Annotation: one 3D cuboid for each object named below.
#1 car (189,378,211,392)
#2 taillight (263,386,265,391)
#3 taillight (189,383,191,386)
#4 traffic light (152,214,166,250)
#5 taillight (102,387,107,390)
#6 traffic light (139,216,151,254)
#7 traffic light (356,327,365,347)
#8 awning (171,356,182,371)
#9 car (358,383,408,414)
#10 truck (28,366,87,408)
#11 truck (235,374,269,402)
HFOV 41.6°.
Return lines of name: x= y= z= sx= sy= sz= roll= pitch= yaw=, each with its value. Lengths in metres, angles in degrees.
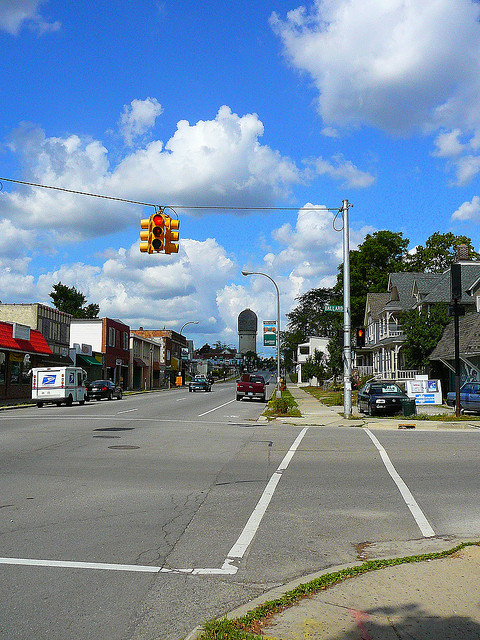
car: x=-4.016 y=6.587 z=63.482 sx=1.192 sy=1.215 sz=3.142 roll=0 pitch=2 yaw=5
taillight: x=1.605 y=4.537 z=41.820 sx=0.142 sy=0.460 sz=0.177 roll=-1 pitch=4 yaw=4
taillight: x=-4.871 y=6.325 z=61.931 sx=0.128 sy=0.196 sz=0.171 roll=0 pitch=-6 yaw=-1
traffic light: x=-2.000 y=-2.143 z=15.493 sx=0.262 sy=0.885 sz=0.218 roll=-1 pitch=-4 yaw=-1
taillight: x=-8.987 y=4.575 z=42.109 sx=0.113 sy=0.127 sz=0.357 roll=-5 pitch=-8 yaw=37
traffic light: x=-2.293 y=-2.052 z=15.458 sx=0.241 sy=0.830 sz=0.285 roll=1 pitch=-5 yaw=-16
traffic light: x=4.315 y=0.621 z=22.643 sx=0.263 sy=0.710 sz=0.536 roll=-1 pitch=-5 yaw=5
awning: x=-11.304 y=7.730 z=110.777 sx=1.265 sy=2.692 sz=2.753 roll=-1 pitch=-2 yaw=11
car: x=5.910 y=3.324 z=26.717 sx=0.836 sy=0.834 sz=2.169 roll=-2 pitch=-9 yaw=-7
truck: x=-9.641 y=3.638 z=34.336 sx=1.947 sy=2.250 sz=3.686 roll=-1 pitch=-5 yaw=6
truck: x=0.775 y=4.571 z=42.107 sx=1.831 sy=1.824 sz=1.399 roll=-1 pitch=-5 yaw=-4
